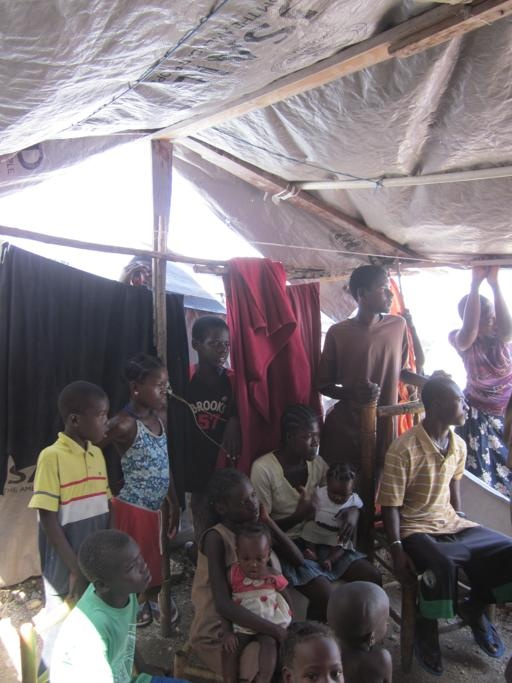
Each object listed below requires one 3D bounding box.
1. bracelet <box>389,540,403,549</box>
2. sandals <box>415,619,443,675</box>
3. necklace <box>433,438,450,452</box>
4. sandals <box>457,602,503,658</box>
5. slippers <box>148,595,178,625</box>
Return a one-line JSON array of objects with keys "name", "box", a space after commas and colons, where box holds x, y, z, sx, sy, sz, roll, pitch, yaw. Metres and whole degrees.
[{"name": "bracelet", "box": [0.682, 0.978, 2.826, 0.035, 0.030, 0.029, 1, -4, 1]}, {"name": "sandals", "box": [0.811, 1.429, 2.739, 0.129, 0.251, 0.116, 4, 1, 15]}, {"name": "necklace", "box": [0.965, 0.534, 3.007, 0.070, 0.079, 0.033, -5, -22, -2]}, {"name": "sandals", "box": [1.130, 1.404, 2.871, 0.241, 0.290, 0.128, 3, 1, -15]}, {"name": "slippers", "box": [-0.497, 1.437, 3.173, 0.103, 0.102, 0.273, -4, 10, -26]}]
